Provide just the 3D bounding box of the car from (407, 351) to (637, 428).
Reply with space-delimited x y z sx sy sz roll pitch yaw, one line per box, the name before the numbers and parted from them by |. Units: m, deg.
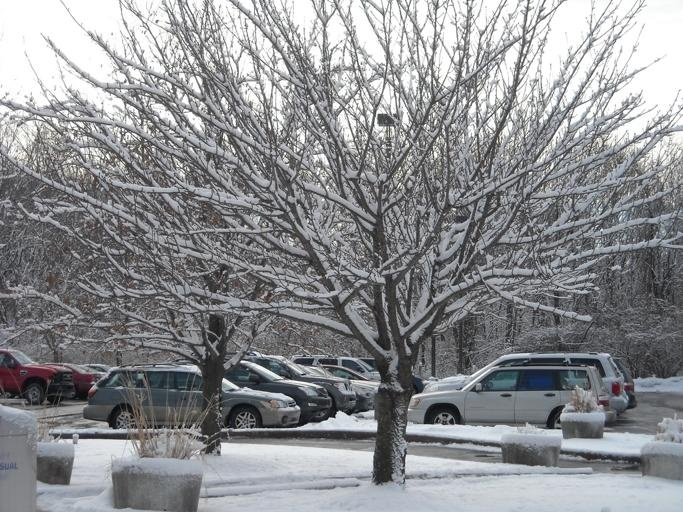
car | 4.626 3.449 18.790 5.734 2.085 2.594 1 -12 -1
